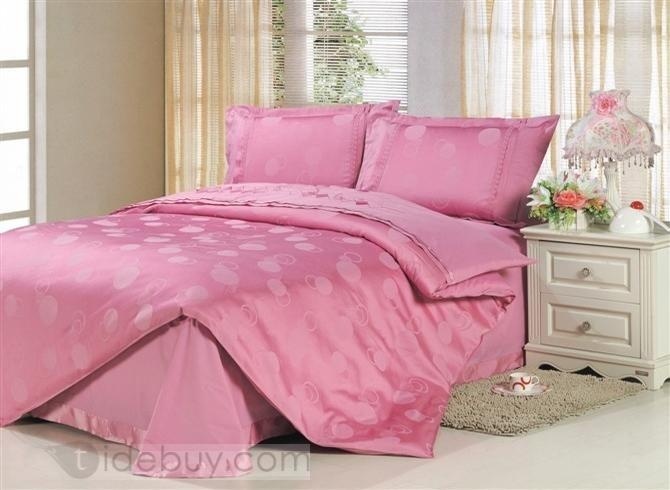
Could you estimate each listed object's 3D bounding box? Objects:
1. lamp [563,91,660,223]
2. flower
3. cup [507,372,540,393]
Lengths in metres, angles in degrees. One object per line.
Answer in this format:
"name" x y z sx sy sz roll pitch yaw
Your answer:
"lamp" 1.419 -0.482 3.031 0.524 0.536 0.460 -5 17 5
"flower" 1.148 -0.232 2.889 0.386 0.209 0.348 1 3 18
"cup" 0.812 0.589 2.535 0.124 0.051 0.087 2 4 23
